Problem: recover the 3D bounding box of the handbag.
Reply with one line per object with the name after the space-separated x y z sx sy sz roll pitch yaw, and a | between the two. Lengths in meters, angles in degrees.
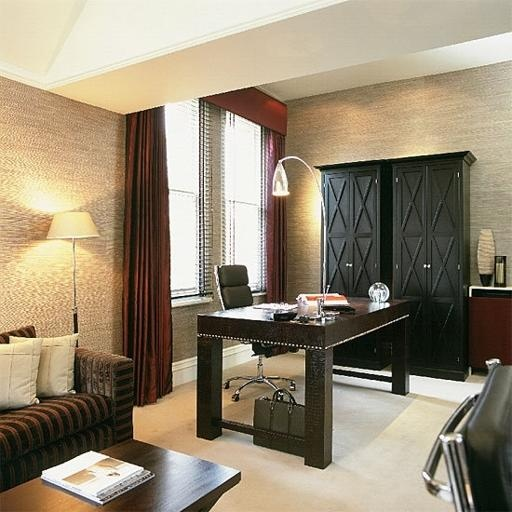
0.153 1.145 2.921 0.293 0.324 0.118 -2 -8 30 | handbag
